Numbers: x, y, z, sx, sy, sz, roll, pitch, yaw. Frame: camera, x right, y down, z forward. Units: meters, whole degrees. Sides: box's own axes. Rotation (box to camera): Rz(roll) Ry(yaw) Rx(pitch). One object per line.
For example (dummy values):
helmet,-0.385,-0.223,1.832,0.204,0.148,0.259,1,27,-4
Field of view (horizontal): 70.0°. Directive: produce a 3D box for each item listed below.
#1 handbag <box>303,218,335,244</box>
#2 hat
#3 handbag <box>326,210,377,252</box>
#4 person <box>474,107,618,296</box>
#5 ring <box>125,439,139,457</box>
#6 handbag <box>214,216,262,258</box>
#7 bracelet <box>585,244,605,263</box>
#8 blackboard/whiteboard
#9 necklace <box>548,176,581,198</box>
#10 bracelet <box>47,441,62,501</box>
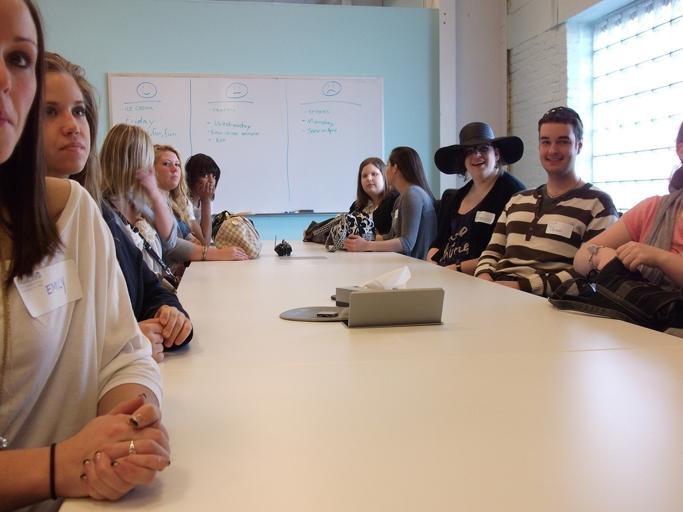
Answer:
handbag,-0.191,-0.180,3.752,0.158,0.078,0.274,-1,-6,-37
hat,0.896,-0.698,3.237,0.393,0.188,0.470,-6,3,28
handbag,0.055,-0.172,3.205,0.296,0.147,0.228,-22,20,11
person,0.960,-0.233,2.362,0.570,0.885,0.633,-4,8,-40
ring,-0.254,0.232,0.591,0.010,0.013,0.017,-6,10,-28
handbag,-0.569,-0.111,2.696,0.257,0.227,0.369,-5,20,-25
bracelet,0.937,-0.006,1.823,0.057,0.064,0.063,5,-1,-21
blackboard/whiteboard,-0.949,-1.101,4.650,1.891,1.118,0.071,-1,6,-6
necklace,1.066,-0.331,2.346,0.100,0.054,0.138,-2,-13,8
bracelet,-0.362,0.271,0.612,0.012,0.053,0.053,-6,10,-29
